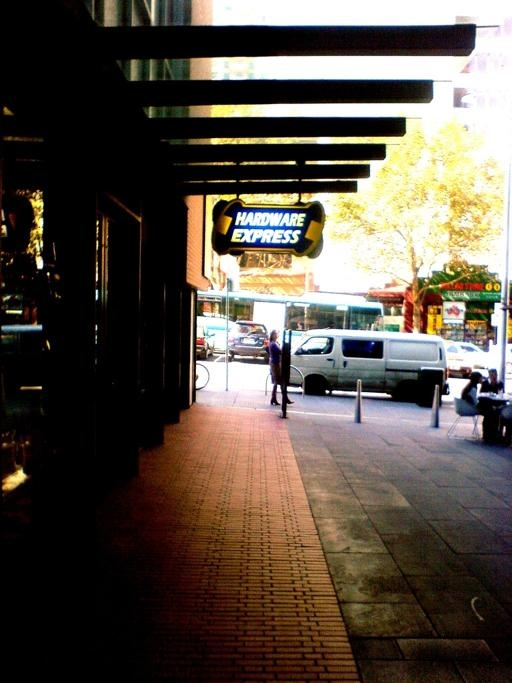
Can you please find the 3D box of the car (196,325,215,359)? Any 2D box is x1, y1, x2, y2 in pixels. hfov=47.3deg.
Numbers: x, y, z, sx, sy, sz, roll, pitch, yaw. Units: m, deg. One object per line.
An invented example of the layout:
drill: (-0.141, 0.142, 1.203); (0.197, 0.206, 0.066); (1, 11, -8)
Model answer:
car: (-2.146, 0.167, 24.899); (0.816, 0.878, 1.921); (0, 7, 6)

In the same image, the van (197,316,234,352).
van: (-2.063, -0.153, 28.532); (1.401, 1.327, 2.503); (2, 12, 15)

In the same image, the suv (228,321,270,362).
suv: (-0.314, 0.063, 25.656); (1.371, 1.477, 3.352); (1, -5, 0)

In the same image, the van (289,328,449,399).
van: (3.383, 0.639, 17.712); (4.154, 2.071, 2.216); (2, -2, 1)
